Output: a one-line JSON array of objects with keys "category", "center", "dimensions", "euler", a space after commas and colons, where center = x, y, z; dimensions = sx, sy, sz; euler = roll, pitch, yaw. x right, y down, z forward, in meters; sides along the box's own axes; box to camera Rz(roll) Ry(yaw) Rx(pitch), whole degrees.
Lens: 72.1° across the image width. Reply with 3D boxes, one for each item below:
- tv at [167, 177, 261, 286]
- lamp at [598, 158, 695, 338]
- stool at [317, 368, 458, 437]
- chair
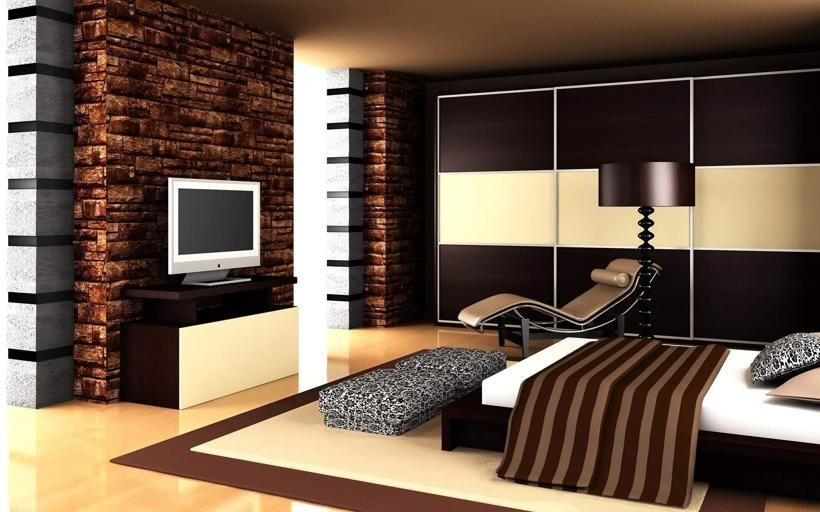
[{"category": "tv", "center": [-1.801, -0.221, 5.097], "dimensions": [0.316, 0.875, 1.138], "euler": [-1, 0, 29]}, {"category": "lamp", "center": [2.452, -0.027, 5.894], "dimensions": [1.112, 1.890, 0.778], "euler": [-7, 13, -22]}, {"category": "stool", "center": [-0.248, 1.068, 4.178], "dimensions": [0.551, 0.189, 0.598], "euler": [-1, 2, 29]}, {"category": "chair", "center": [1.206, 0.537, 6.155], "dimensions": [2.873, 1.037, 0.943], "euler": [0, -1, -13]}]
